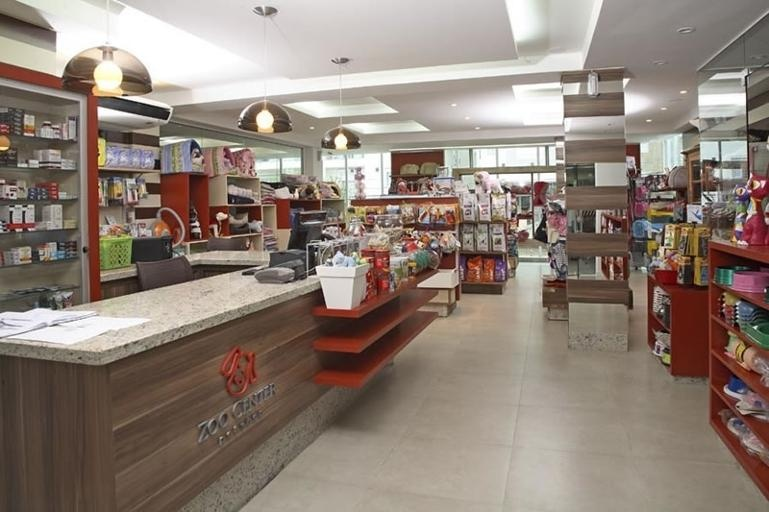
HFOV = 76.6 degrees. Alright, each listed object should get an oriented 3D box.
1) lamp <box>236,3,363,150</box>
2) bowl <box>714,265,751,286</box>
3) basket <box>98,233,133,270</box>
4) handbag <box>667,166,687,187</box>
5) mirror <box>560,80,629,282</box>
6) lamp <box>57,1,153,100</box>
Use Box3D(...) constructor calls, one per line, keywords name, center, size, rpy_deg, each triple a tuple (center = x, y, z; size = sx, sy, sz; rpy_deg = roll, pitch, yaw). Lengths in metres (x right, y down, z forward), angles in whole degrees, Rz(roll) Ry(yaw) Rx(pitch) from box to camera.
Box3D(name="lamp", center=(-1.109, -2.392, 6.496), size=(0.699, 1.650, 1.932), rpy_deg=(1, -1, 33))
Box3D(name="bowl", center=(2.721, 0.145, 3.805), size=(0.188, 0.068, 0.182), rpy_deg=(-3, 4, 0))
Box3D(name="basket", center=(-2.904, -0.041, 5.284), size=(0.317, 0.368, 0.524), rpy_deg=(0, 0, -34))
Box3D(name="handbag", center=(5.148, -1.380, 8.552), size=(0.432, 0.409, 0.286), rpy_deg=(-1, 5, 16))
Box3D(name="mirror", center=(2.551, -0.996, 5.954), size=(0.793, 2.484, 0.630), rpy_deg=(2, 11, 18))
Box3D(name="lamp", center=(-2.105, -1.536, 3.792), size=(0.536, 0.572, 0.560), rpy_deg=(1, 3, 13))
